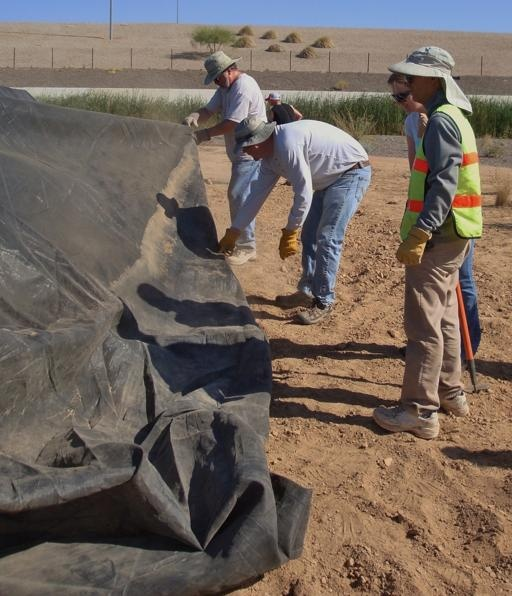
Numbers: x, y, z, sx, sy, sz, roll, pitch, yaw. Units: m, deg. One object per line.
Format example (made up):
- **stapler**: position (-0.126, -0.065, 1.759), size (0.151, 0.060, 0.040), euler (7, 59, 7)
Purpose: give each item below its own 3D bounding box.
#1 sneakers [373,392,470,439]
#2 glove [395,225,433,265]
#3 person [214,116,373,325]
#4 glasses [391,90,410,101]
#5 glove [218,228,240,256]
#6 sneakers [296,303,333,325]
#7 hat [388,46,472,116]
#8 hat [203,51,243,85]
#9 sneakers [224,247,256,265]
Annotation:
- **sneakers**: position (0.812, 0.602, 3.527), size (0.579, 0.252, 0.201), euler (4, 32, 9)
- **glove**: position (0.719, -0.227, 3.071), size (0.143, 0.166, 0.075), euler (32, 8, 37)
- **person**: position (0.282, -0.466, 4.500), size (0.554, 1.454, 1.082), euler (13, 23, 40)
- **glasses**: position (0.906, -1.265, 4.178), size (0.076, 0.076, 0.030), euler (-2, 34, 40)
- **glove**: position (-0.151, -0.350, 4.378), size (0.062, 0.176, 0.132), euler (28, -10, -27)
- **sneakers**: position (0.417, 0.120, 4.833), size (0.269, 0.106, 0.112), euler (-15, 62, -12)
- **hat**: position (0.790, -0.989, 3.035), size (0.358, 0.284, 0.134), euler (0, 18, 9)
- **hat**: position (-0.300, -1.886, 5.441), size (0.236, 0.268, 0.718), euler (-4, 16, -3)
- **sneakers**: position (-0.135, -0.362, 5.843), size (0.117, 0.139, 0.324), euler (31, 23, 31)
